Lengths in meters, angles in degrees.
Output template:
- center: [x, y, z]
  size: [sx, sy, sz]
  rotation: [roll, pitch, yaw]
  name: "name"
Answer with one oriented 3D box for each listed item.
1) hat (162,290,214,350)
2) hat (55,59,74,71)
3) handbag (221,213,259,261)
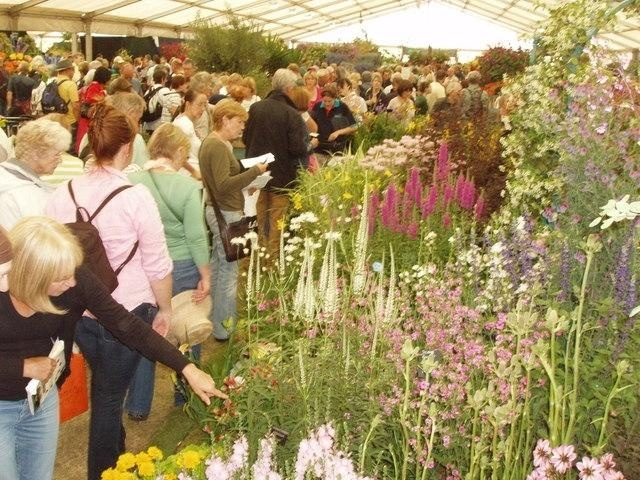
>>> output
- center: [-0.803, 0.575, 3.335]
  size: [0.353, 0.322, 0.277]
  rotation: [-16, 39, -23]
  name: "hat"
- center: [-3.980, -2.739, 7.886]
  size: [0.256, 0.136, 0.236]
  rotation: [-19, 33, -20]
  name: "hat"
- center: [-0.634, -0.025, 3.915]
  size: [0.118, 0.324, 0.334]
  rotation: [-7, 8, 36]
  name: "handbag"
